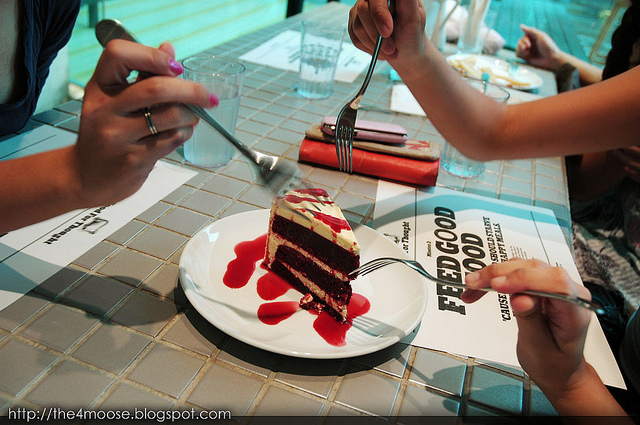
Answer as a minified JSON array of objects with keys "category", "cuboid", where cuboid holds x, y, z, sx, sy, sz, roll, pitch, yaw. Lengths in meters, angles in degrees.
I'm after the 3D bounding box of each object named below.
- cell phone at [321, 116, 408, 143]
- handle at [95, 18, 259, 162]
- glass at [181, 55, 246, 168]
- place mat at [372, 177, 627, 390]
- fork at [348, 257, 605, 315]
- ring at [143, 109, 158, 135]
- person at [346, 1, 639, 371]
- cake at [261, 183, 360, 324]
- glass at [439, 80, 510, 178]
[{"category":"cell phone","cuboid":[0.167,-0.309,1.623,0.240,0.047,0.137,5,22,-11]},{"category":"handle","cuboid":[-0.375,-0.298,1.096,0.471,0.239,0.086,29,57,18]},{"category":"glass","cuboid":[-0.410,-0.374,1.588,0.244,0.377,0.246,2,16,-22]},{"category":"place mat","cuboid":[0.505,0.140,1.368,0.797,0.004,0.891,22,40,11]},{"category":"fork","cuboid":[0.249,0.152,1.025,0.044,0.549,0.086,42,69,-23]},{"category":"ring","cuboid":[-0.406,-0.216,1.035,0.017,0.048,0.030,-20,56,-16]},{"category":"person","cuboid":[0.601,-0.204,1.646,1.610,0.236,0.840,27,41,6]},{"category":"cake","cuboid":[0.001,0.124,1.287,0.255,0.276,0.362,-7,32,-26]},{"category":"glass","cuboid":[0.541,-0.294,1.544,0.220,0.307,0.252,4,44,-8]}]
